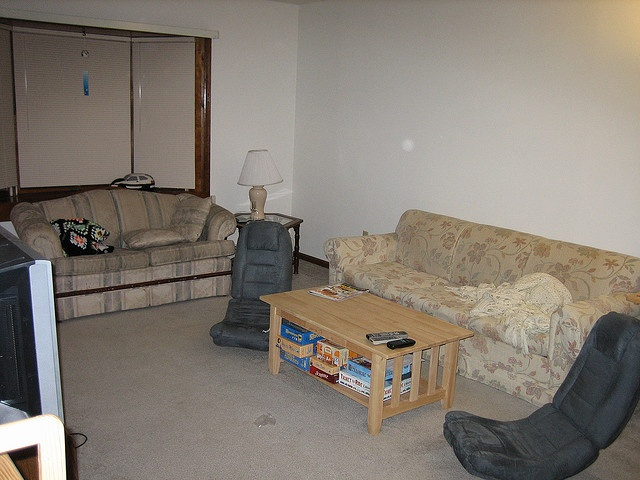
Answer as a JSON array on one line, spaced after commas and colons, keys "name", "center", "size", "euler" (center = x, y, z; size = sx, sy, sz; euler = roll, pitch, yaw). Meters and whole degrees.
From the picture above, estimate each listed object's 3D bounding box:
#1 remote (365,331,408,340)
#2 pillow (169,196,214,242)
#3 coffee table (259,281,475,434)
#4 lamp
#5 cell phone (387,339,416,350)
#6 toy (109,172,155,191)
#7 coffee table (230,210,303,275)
[{"name": "remote", "center": [0.428, 0.607, 2.999], "size": [0.175, 0.023, 0.091], "euler": [1, 2, -17]}, {"name": "pillow", "center": [-1.340, -0.194, 5.208], "size": [0.491, 0.471, 0.144], "euler": [3, -23, 26]}, {"name": "coffee table", "center": [0.407, 0.491, 3.235], "size": [0.823, 0.609, 1.340], "euler": [-5, 12, -34]}, {"name": "lamp", "center": [-0.662, -0.613, 5.370], "size": [0.438, 0.782, 0.886], "euler": [2, 12, -5]}, {"name": "cell phone", "center": [0.498, 0.635, 2.940], "size": [0.140, 0.028, 0.066], "euler": [-6, 13, -24]}, {"name": "toy", "center": [-2.164, -0.664, 5.553], "size": [0.397, 0.142, 0.222], "euler": [0, 7, -24]}, {"name": "coffee table", "center": [-0.531, 0.024, 5.660], "size": [0.787, 0.566, 0.763], "euler": [-11, 28, -37]}]
